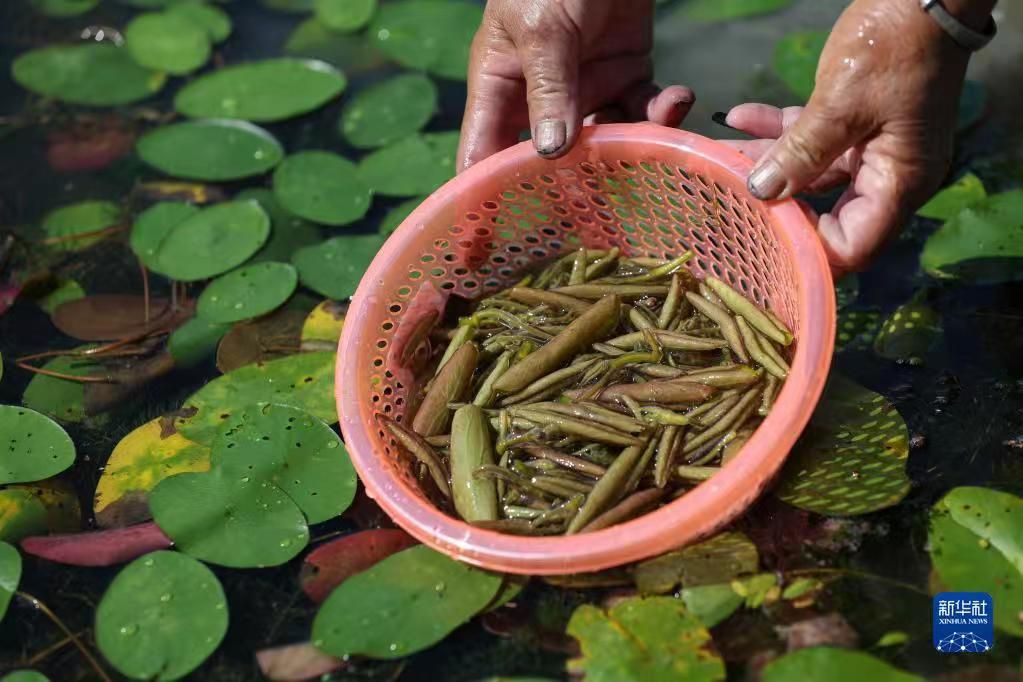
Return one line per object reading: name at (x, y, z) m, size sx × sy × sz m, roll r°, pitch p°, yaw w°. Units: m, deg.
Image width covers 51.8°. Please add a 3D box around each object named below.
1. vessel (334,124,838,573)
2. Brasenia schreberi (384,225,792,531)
vessel at (0.260, 0.017, 2.416) m, size 0.936 × 0.385 × 0.948 m, roll 5°, pitch 62°, yaw 20°
Brasenia schreberi at (0.157, 0.090, 2.237) m, size 0.778 × 0.277 × 0.605 m, roll -40°, pitch 83°, yaw -3°
